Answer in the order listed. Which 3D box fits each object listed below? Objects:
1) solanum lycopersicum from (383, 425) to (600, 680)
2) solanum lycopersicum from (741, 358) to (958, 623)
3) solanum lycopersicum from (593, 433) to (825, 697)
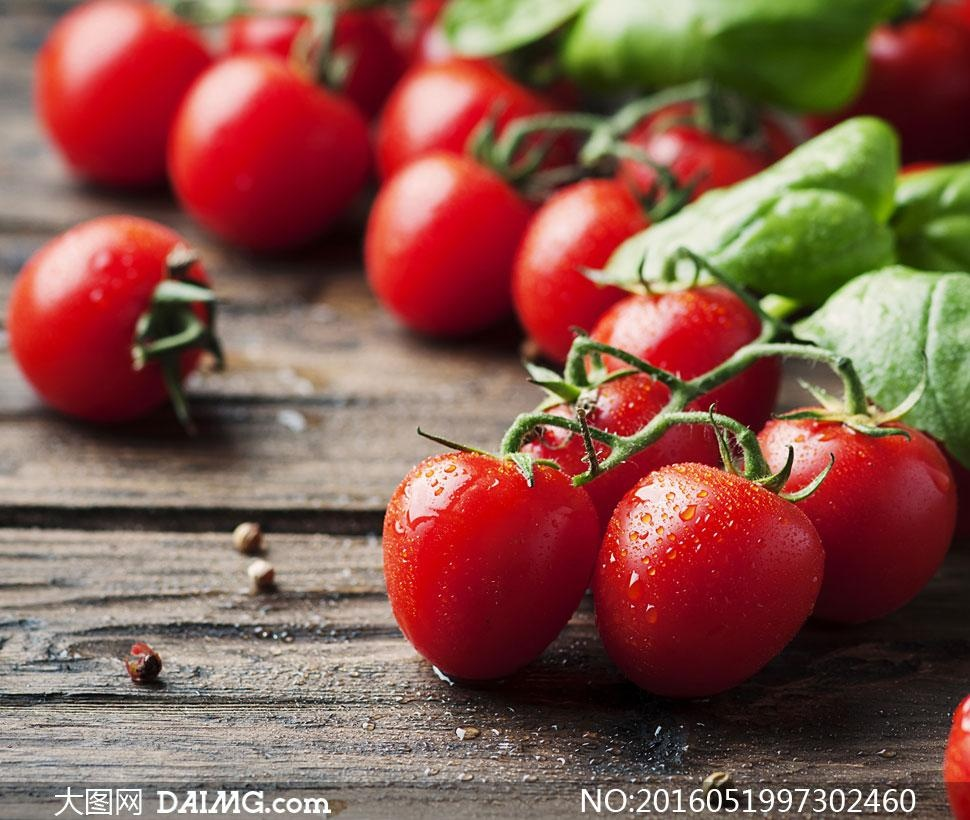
[{"bbox_3d":[0.003,0.094,0.741,0.130,0.094,0.124,1,63,-2],"label":"solanum lycopersicum"},{"bbox_3d":[0.287,0.053,0.831,0.173,0.169,0.174,0,91,22],"label":"solanum lycopersicum"},{"bbox_3d":[0.134,0.096,0.724,0.118,0.115,0.136,32,87,23],"label":"solanum lycopersicum"}]
